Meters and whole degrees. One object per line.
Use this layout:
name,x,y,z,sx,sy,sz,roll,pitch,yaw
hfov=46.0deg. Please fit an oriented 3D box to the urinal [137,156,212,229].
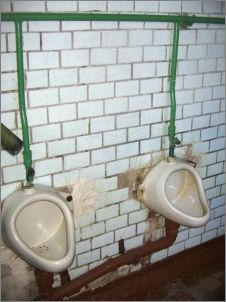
urinal,0.458,0.229,1.730,0.459,0.374,0.388,-16,26,-32
